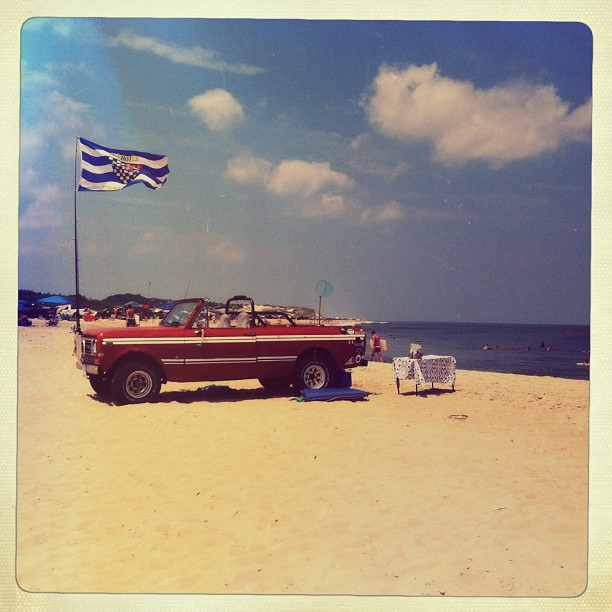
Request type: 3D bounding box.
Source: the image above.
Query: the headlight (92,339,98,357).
[{"bbox_3d":[-3.521,0.687,11.271,0.046,0.239,0.204,6,-4,-22],"label":"headlight"}]
